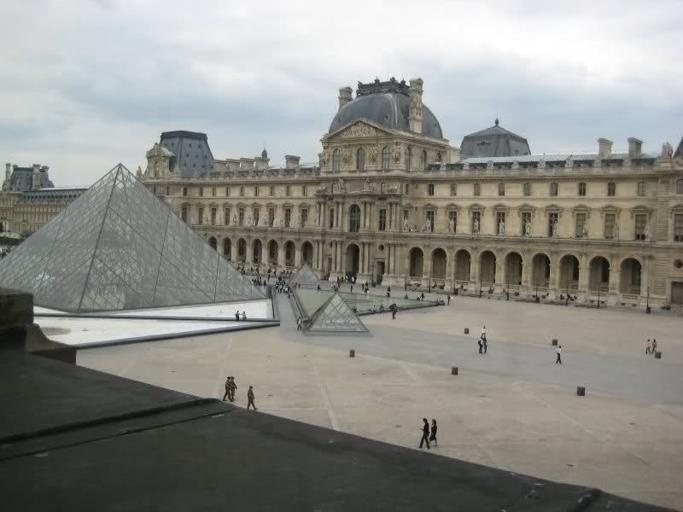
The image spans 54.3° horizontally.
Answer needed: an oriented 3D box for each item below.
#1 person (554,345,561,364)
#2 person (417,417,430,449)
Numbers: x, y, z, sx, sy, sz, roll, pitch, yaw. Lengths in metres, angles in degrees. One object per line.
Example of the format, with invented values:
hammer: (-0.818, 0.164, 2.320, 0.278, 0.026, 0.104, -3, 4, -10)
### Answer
person: (10.626, 4.787, 32.397, 0.269, 0.731, 1.191, 3, 4, 19)
person: (2.574, 5.353, 20.506, 0.342, 0.899, 1.229, 2, 4, 7)
